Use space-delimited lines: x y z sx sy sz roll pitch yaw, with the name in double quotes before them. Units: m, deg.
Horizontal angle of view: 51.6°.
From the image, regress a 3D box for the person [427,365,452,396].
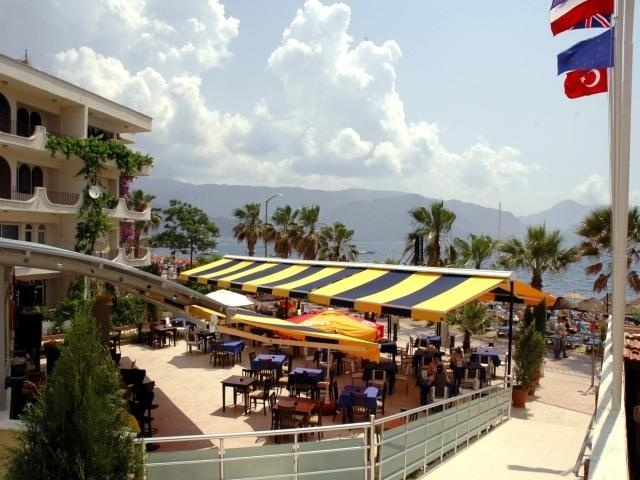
"person" 3.976 4.873 21.682 0.520 1.669 0.442 8 27 21
